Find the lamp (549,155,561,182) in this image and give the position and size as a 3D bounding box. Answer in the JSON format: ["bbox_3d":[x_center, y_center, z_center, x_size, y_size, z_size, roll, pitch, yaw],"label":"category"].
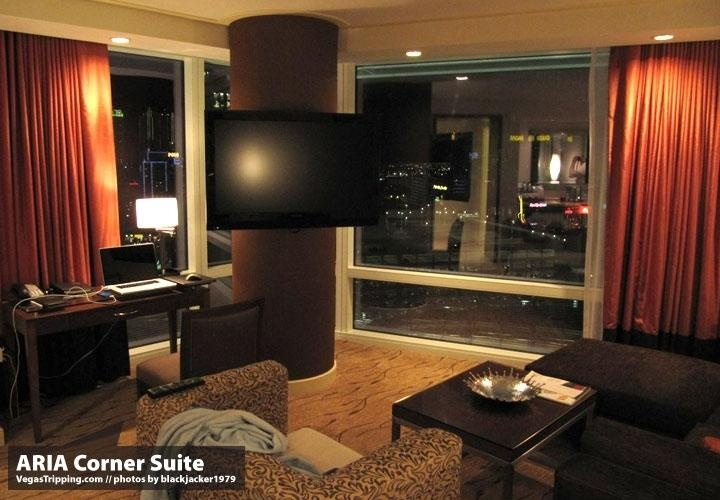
[{"bbox_3d":[1.868,-0.783,5.215,0.107,0.258,0.030,4,14,20],"label":"lamp"}]

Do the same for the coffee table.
[{"bbox_3d":[0.802,0.827,3.472,1.130,0.517,0.794,-15,21,-43],"label":"coffee table"}]

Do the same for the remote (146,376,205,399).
[{"bbox_3d":[-1.085,0.800,3.206,0.261,0.034,0.129,-8,14,-37],"label":"remote"}]

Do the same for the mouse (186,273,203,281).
[{"bbox_3d":[-1.468,0.241,4.799,0.083,0.026,0.083,3,9,3],"label":"mouse"}]

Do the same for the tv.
[{"bbox_3d":[-0.585,-0.658,4.432,1.094,0.670,0.107,-2,6,-13],"label":"tv"}]

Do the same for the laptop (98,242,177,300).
[{"bbox_3d":[-1.901,0.192,4.627,0.560,0.380,0.502,-9,16,-41],"label":"laptop"}]
